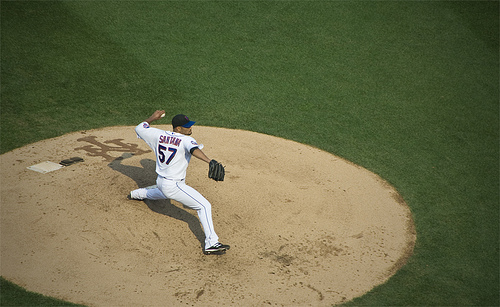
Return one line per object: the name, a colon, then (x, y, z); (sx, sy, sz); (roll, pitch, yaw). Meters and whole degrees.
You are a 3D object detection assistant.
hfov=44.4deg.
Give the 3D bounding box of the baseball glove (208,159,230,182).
baseball glove: (-0.981, 0.502, 18.345); (0.440, 0.353, 0.596); (4, 78, -5)
